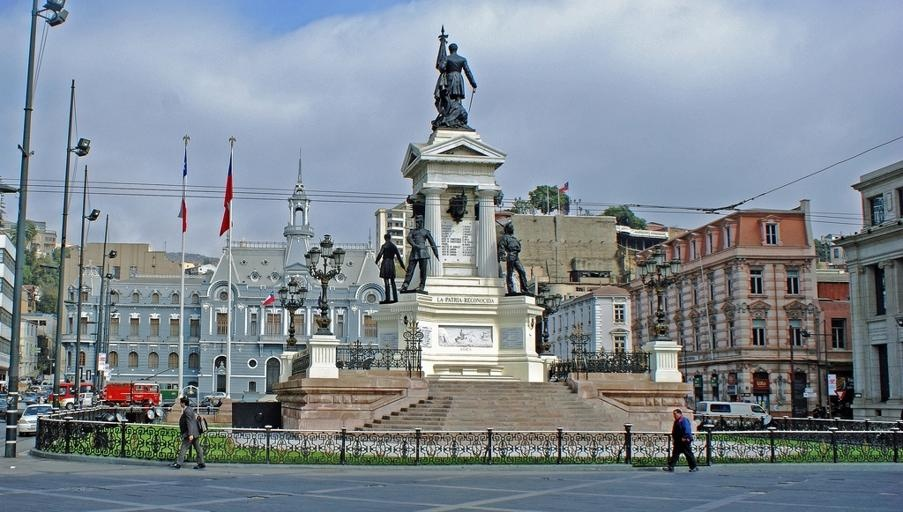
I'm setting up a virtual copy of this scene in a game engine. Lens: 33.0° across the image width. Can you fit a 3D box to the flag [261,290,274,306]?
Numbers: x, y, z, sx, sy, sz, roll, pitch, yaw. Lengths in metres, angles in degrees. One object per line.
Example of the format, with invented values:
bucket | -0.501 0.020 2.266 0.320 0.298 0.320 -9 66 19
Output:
flag | -19.711 4.442 159.417 1.849 1.886 0.119 -3 -22 27
